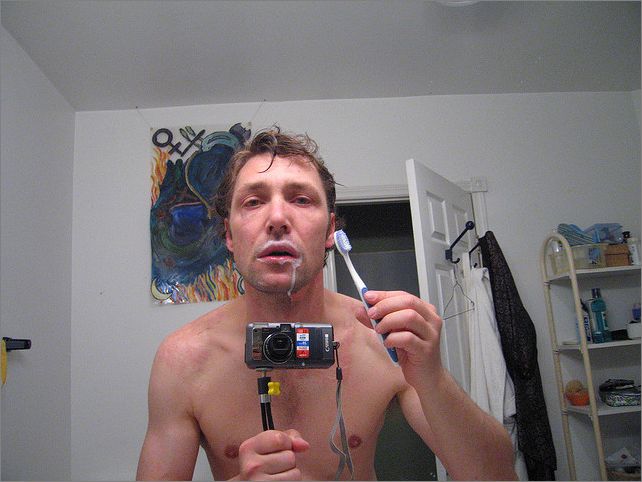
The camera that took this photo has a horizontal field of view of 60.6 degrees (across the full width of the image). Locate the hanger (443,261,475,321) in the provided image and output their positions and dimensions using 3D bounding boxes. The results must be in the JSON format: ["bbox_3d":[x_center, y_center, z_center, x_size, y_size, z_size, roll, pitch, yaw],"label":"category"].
[{"bbox_3d":[0.780,0.288,3.117,0.023,0.338,0.279,-11,-17,41],"label":"hanger"}]

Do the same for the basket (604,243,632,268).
[{"bbox_3d":[1.702,0.078,3.159,0.104,0.112,0.065,2,-18,2],"label":"basket"}]

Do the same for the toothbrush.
[{"bbox_3d":[0.242,0.277,2.882,0.065,0.653,0.054,-14,-17,-24],"label":"toothbrush"}]

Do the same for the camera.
[{"bbox_3d":[-0.112,0.374,1.978,0.313,0.166,0.041,-1,-9,-8],"label":"camera"}]
